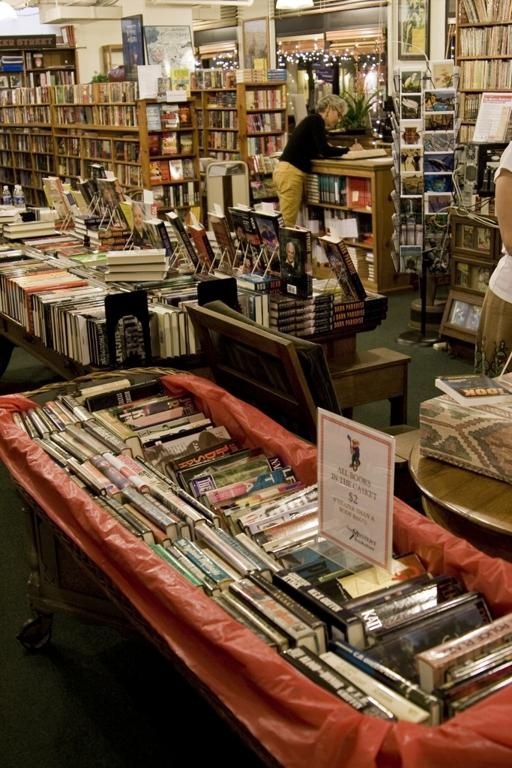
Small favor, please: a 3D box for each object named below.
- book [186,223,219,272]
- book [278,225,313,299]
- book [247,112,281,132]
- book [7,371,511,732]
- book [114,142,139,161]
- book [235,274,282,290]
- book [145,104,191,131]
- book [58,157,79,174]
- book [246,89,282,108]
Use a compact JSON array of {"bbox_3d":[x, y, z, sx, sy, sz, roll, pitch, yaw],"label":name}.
[{"bbox_3d":[-0.316,-0.800,3.404,0.060,0.254,0.255,-29,42,-26],"label":"book"},{"bbox_3d":[0.192,-0.606,2.859,0.043,0.395,0.302,-11,22,-27],"label":"book"},{"bbox_3d":[0.099,-4.255,9.189,0.350,0.324,0.125,-4,13,-19],"label":"book"},{"bbox_3d":[0.031,0.262,1.404,0.532,0.232,1.012,-8,18,-26],"label":"book"},{"bbox_3d":[-1.924,-3.468,8.437,0.212,0.368,0.381,-16,27,-40],"label":"book"},{"bbox_3d":[0.027,-0.529,2.956,0.136,0.034,0.141,-12,24,-36],"label":"book"},{"bbox_3d":[-1.218,-3.673,7.828,0.441,0.439,0.451,-2,12,-2],"label":"book"},{"bbox_3d":[-3.417,-3.968,10.312,0.422,0.407,0.152,11,15,37],"label":"book"},{"bbox_3d":[0.093,-4.572,9.068,0.356,0.339,0.188,-2,8,-15],"label":"book"}]
